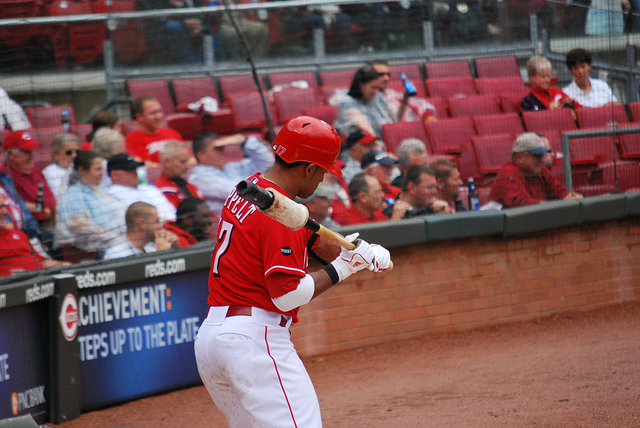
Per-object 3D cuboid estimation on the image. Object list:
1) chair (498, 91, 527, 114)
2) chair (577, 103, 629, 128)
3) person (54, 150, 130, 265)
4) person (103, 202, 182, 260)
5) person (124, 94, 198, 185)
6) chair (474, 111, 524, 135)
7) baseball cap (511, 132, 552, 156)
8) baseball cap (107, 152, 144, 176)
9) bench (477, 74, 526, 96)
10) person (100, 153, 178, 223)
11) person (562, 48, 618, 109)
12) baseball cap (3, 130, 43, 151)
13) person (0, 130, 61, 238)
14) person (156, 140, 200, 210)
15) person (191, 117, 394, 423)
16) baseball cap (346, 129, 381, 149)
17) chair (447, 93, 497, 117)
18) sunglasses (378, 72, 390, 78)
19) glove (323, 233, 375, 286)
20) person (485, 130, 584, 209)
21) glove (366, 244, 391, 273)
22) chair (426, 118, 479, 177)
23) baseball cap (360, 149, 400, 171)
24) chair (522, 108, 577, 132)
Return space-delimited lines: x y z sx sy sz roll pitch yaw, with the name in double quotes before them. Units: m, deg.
"chair" 2.144 -1.252 12.134 0.244 0.302 0.259 -2 -3 4
"chair" 3.117 -1.082 11.967 0.500 0.315 0.280 -10 30 -4
"person" -2.196 -0.081 10.126 0.727 1.007 0.222 -12 9 -15
"person" -1.752 0.140 10.478 0.666 0.496 0.971 1 1 -13
"person" -1.557 -0.701 10.551 0.750 0.833 0.673 -1 20 -11
"chair" 1.945 -1.001 11.847 0.450 0.292 0.251 -11 36 -10
"baseball cap" 2.196 -0.743 11.240 0.327 0.183 0.229 -8 9 12
"baseball cap" -1.887 -0.476 10.300 0.253 0.087 0.166 -16 9 -9
"bench" 2.071 -1.444 12.387 0.438 0.252 0.292 -9 -15 5
"person" -1.789 -0.282 10.361 0.753 0.373 0.462 21 13 2
"person" 2.934 -1.466 12.085 0.772 0.698 0.461 -10 8 6
"baseball cap" -2.792 -0.679 10.022 0.246 0.123 0.167 -6 7 -6
"person" -2.710 -0.271 9.997 0.451 0.995 0.255 -13 9 -15
"person" -1.467 -0.388 10.649 0.371 0.639 0.796 5 9 19
"person" -0.345 0.455 8.485 1.348 2.316 0.714 -16 11 -33
"baseball cap" 0.442 -0.792 11.376 0.289 0.108 0.186 -14 10 15
"chair" 1.710 -1.217 12.149 0.339 0.322 0.412 -5 0 3
"sunglasses" 0.680 -1.503 11.698 0.118 0.055 0.018 -15 10 -36
"glove" 0.223 0.360 8.562 0.402 0.184 0.293 -34 20 2
"person" 2.329 -0.502 11.768 0.919 1.253 0.778 -4 6 19
"glove" 0.478 0.376 8.654 0.221 0.091 0.162 2 13 13
"chair" 1.392 -0.677 11.496 0.500 0.593 0.443 -8 -13 -10
"baseball cap" 0.589 -0.557 11.236 0.326 0.121 0.203 -3 8 9
"chair" 2.508 -1.012 11.841 0.473 0.278 0.298 -2 2 -6
